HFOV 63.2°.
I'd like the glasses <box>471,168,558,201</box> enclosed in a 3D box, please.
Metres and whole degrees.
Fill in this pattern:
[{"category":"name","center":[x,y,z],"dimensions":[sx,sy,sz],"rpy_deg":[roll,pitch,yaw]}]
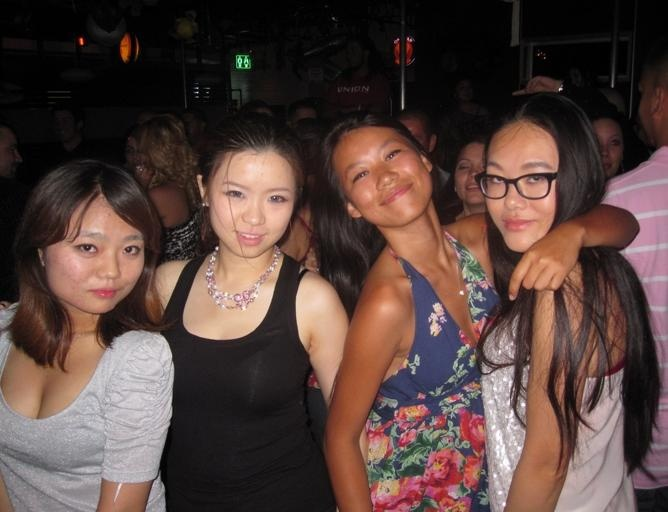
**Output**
[{"category":"glasses","center":[0.671,-0.258,2.015],"dimensions":[0.295,0.104,0.114],"rpy_deg":[4,10,22]}]
